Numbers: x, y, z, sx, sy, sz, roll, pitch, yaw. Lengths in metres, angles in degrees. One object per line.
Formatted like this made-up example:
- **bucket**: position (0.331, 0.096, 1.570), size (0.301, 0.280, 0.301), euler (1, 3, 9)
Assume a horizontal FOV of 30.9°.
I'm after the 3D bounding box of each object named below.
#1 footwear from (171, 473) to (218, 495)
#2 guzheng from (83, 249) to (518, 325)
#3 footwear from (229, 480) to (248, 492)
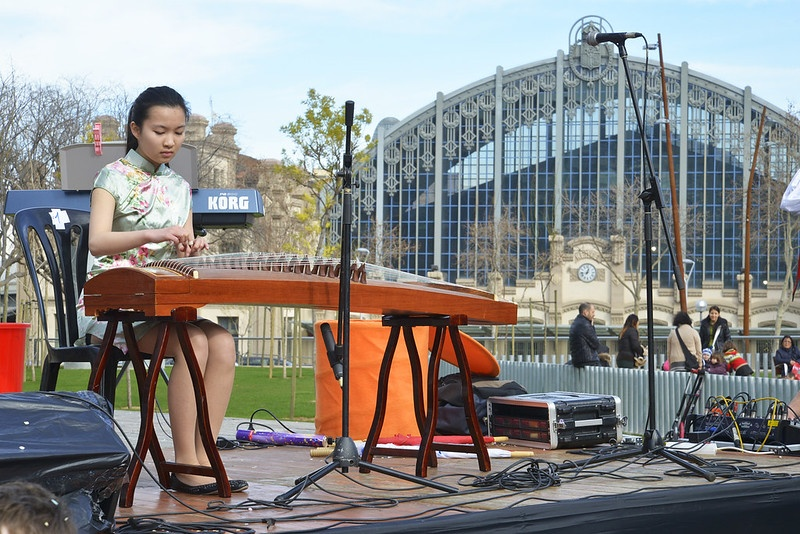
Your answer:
- **footwear**: position (-3.527, 3.728, 24.839), size (0.841, 0.334, 0.311), euler (1, -7, 4)
- **guzheng**: position (-1.871, 0.336, 24.805), size (6.944, 1.175, 0.533), euler (1, -4, -9)
- **footwear**: position (-2.768, 3.752, 24.792), size (0.372, 0.157, 0.135), euler (-4, -6, 26)
